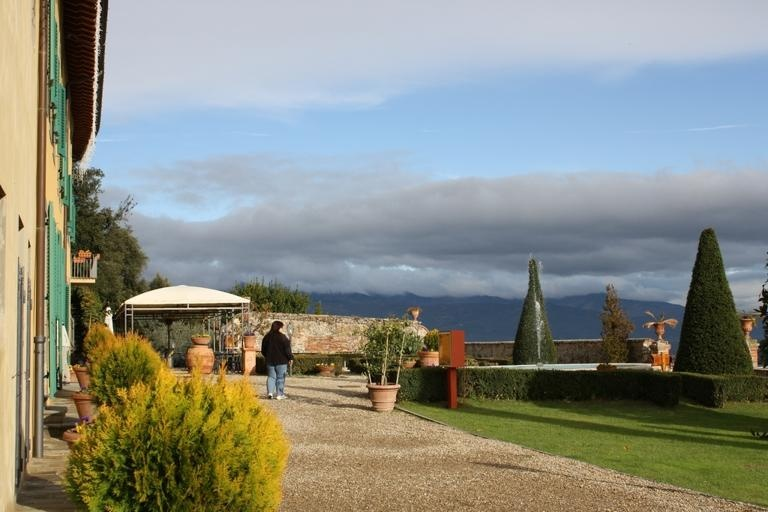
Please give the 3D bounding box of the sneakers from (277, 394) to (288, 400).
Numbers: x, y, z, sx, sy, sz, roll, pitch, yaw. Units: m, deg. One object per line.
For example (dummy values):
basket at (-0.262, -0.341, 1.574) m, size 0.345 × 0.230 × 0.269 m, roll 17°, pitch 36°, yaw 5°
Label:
sneakers at (-2.302, 3.187, 19.122) m, size 0.237 × 0.096 × 0.092 m, roll 0°, pitch 2°, yaw -8°

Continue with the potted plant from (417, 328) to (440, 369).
potted plant at (1.378, 2.875, 25.867) m, size 0.791 × 1.038 × 0.783 m, roll 1°, pitch -8°, yaw -9°

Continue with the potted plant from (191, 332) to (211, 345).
potted plant at (-5.457, 2.516, 25.244) m, size 0.468 × 0.304 × 0.814 m, roll 3°, pitch -6°, yaw -5°

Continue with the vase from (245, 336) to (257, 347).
vase at (-4.265, 2.733, 26.830) m, size 0.376 × 0.267 × 0.367 m, roll 1°, pitch 0°, yaw -12°

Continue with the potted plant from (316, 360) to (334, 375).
potted plant at (-1.847, 3.592, 27.018) m, size 0.418 × 0.247 × 0.421 m, roll -10°, pitch -12°, yaw 43°

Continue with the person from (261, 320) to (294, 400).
person at (-2.461, 2.360, 19.289) m, size 0.662 × 1.751 × 0.941 m, roll 4°, pitch -6°, yaw -8°

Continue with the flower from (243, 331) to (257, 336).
flower at (-5.081, 2.919, 31.867) m, size 0.599 × 0.134 × 0.601 m, roll -3°, pitch -4°, yaw 39°
